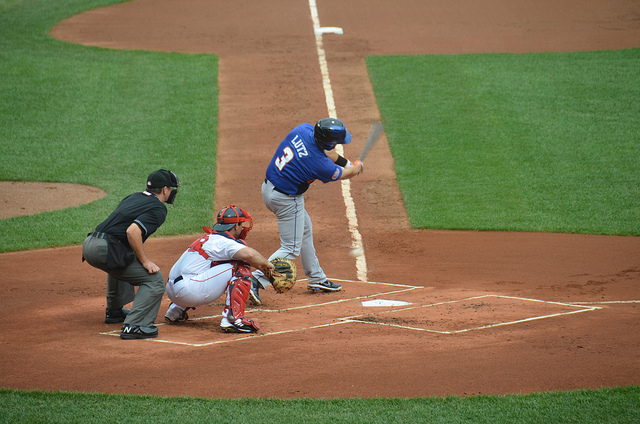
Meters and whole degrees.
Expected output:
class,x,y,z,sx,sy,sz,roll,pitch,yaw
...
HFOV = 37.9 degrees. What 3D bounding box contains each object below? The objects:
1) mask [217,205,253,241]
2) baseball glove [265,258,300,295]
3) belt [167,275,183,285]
class,x,y,z,sx,sy,sz,roll,pitch,yaw
mask,-1.556,0.162,16.224,0.574,0.503,0.694,5,-4,37
baseball glove,-0.646,1.024,16.819,0.717,0.462,0.211,-11,1,29
belt,-2.485,1.140,15.917,0.239,0.151,0.138,8,28,-6
